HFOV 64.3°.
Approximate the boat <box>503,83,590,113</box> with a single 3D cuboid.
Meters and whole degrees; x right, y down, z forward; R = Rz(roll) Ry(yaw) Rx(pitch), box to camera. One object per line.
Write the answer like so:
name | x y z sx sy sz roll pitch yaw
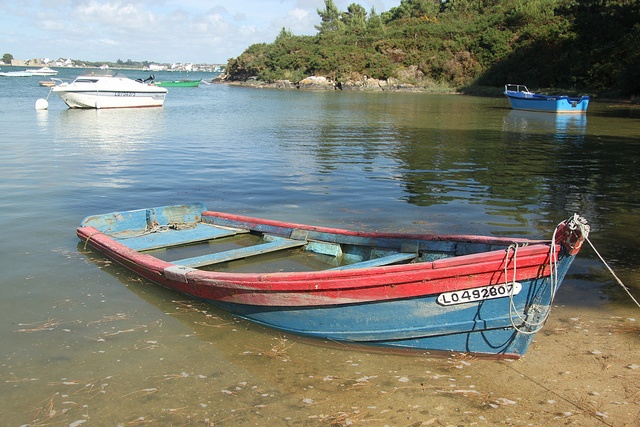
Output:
boat | 18.061 -8.921 40.667 1.750 1.666 6.131 -6 13 -27
